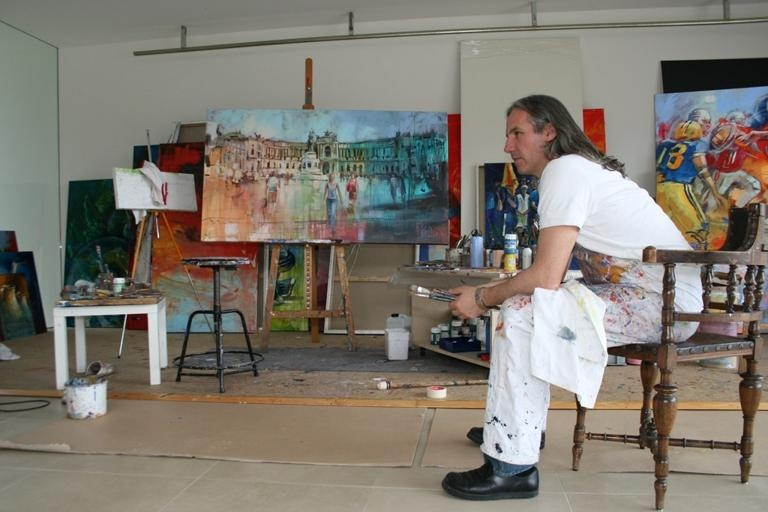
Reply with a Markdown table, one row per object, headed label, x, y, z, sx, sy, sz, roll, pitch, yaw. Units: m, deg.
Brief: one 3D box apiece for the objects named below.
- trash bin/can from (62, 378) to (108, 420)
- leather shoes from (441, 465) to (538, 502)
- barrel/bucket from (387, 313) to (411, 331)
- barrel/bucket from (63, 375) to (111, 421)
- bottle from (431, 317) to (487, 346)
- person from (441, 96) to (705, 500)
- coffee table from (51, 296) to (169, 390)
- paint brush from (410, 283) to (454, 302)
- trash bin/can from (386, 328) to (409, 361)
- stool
| label | x | y | z | sx | sy | sz | roll | pitch | yaw |
| --- | --- | --- | --- | --- | --- | --- | --- | --- | --- |
| trash bin/can | -2.291 | 1.077 | 5.366 | 0.327 | 0.266 | 0.302 | 0 | 1 | -4 |
| leather shoes | 0.660 | 1.437 | 4.517 | 0.608 | 0.222 | 0.225 | 3 | 0 | 0 |
| barrel/bucket | 0.136 | 0.667 | 7.106 | 0.285 | 0.232 | 0.143 | 0 | -6 | -3 |
| barrel/bucket | -2.272 | 1.074 | 5.342 | 0.328 | 0.275 | 0.313 | 0 | -2 | 0 |
| bottle | 0.687 | 0.696 | 6.598 | 0.534 | 0.249 | 0.342 | 1 | 4 | 18 |
| person | 1.099 | 0.240 | 4.448 | 1.422 | 2.547 | 0.489 | -1 | 5 | 1 |
| coffee table | -2.367 | 0.746 | 6.230 | 1.186 | 0.657 | 1.129 | -2 | -1 | 24 |
| paint brush | 0.378 | 0.279 | 5.443 | 0.381 | 0.090 | 0.132 | 13 | 13 | 9 |
| trash bin/can | 0.126 | 0.850 | 6.886 | 0.285 | 0.300 | 0.342 | 0 | 0 | 0 |
| stool | -1.440 | 0.556 | 6.110 | 0.888 | 0.992 | 0.786 | -1 | 5 | -22 |
